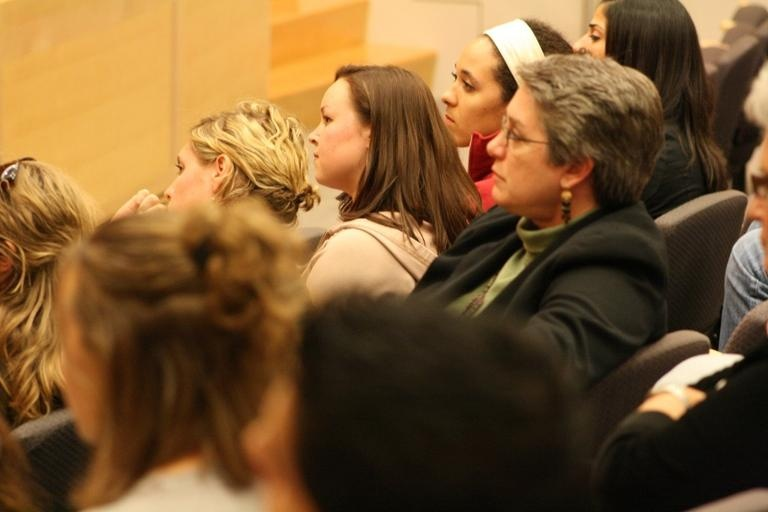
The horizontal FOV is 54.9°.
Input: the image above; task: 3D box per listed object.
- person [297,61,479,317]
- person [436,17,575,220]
[{"bbox_3d":[0.038,-0.240,2.572,0.590,0.811,0.826,4,8,7],"label":"person"},{"bbox_3d":[0.399,-0.628,3.105,0.652,0.990,0.671,6,20,8],"label":"person"}]
